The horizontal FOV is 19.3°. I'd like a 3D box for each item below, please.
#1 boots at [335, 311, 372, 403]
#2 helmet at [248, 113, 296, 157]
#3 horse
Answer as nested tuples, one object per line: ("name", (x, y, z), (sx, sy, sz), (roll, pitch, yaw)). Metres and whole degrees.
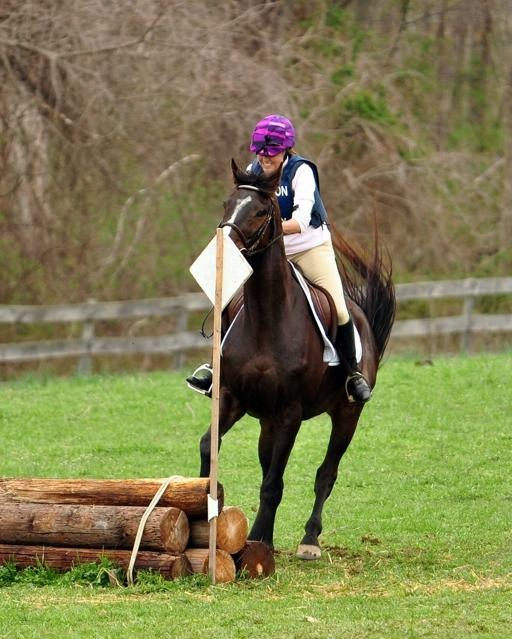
("boots", (0.855, 0.263, 12.818), (0.207, 0.836, 0.233), (-5, 1, 18))
("helmet", (0.144, -1.497, 12.267), (0.343, 0.298, 0.516), (3, 11, 14))
("horse", (0.530, 0.181, 13.245), (1.008, 3.274, 3.547), (7, 10, 24))
